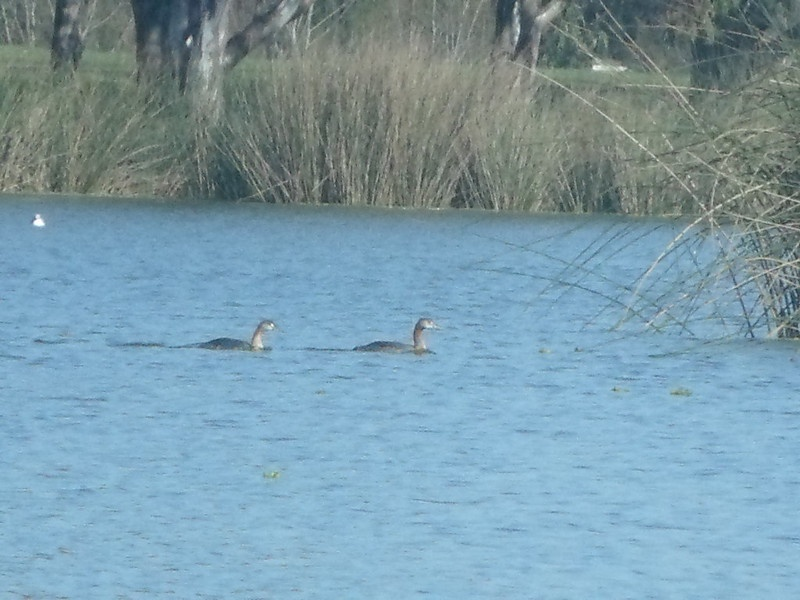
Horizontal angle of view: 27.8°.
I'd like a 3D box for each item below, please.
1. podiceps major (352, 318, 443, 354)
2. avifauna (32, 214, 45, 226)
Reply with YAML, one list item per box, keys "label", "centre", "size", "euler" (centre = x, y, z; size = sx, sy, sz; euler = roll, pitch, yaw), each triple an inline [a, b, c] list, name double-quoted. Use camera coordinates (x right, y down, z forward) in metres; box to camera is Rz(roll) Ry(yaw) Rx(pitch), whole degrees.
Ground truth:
- label: "podiceps major"
  centre: [-0.134, 0.261, 11.933]
  size: [0.823, 0.278, 0.215]
  euler: [-1, 13, -11]
- label: "avifauna"
  centre: [-3.896, -0.884, 17.481]
  size: [0.143, 0.155, 0.254]
  euler: [-3, 3, -25]
